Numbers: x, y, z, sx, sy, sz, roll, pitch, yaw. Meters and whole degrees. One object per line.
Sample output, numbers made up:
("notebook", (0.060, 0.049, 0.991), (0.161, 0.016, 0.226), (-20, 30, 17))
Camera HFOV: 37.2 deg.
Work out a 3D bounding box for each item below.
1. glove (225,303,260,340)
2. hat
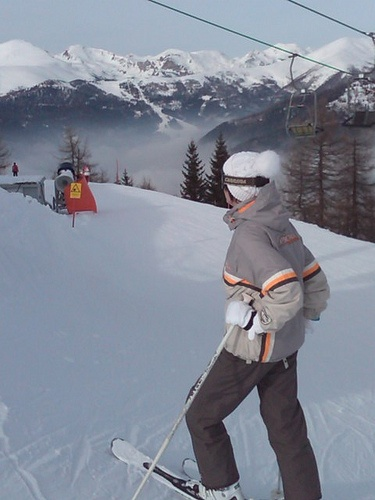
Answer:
("glove", (0.348, 0.427, 3.379), (0.207, 0.213, 0.084), (23, -19, 4))
("hat", (0.390, -0.521, 3.723), (0.362, 0.350, 0.299), (19, 28, 40))
